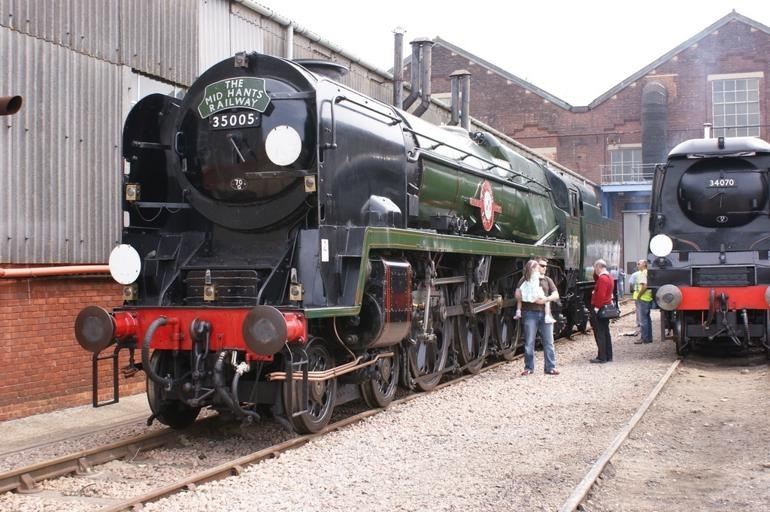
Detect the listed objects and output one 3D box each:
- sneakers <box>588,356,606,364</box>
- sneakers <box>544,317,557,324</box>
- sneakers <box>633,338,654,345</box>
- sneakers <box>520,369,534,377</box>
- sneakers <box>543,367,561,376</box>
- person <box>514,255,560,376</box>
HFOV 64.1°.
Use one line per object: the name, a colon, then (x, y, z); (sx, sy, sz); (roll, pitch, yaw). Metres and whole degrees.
sneakers: (4.752, 2.343, 13.731); (0.356, 0.161, 0.133); (0, 4, 39)
sneakers: (3.373, 1.329, 12.618); (0.293, 0.142, 0.130); (-2, 2, 39)
sneakers: (6.900, 2.272, 16.443); (0.446, 0.214, 0.173); (1, 2, 24)
sneakers: (2.906, 2.416, 12.611); (0.103, 0.121, 0.301); (-5, -11, 31)
sneakers: (3.431, 2.361, 12.613); (0.247, 0.117, 0.141); (-1, 7, 39)
person: (3.179, 1.279, 12.814); (0.878, 2.448, 0.678); (-2, -8, 26)
